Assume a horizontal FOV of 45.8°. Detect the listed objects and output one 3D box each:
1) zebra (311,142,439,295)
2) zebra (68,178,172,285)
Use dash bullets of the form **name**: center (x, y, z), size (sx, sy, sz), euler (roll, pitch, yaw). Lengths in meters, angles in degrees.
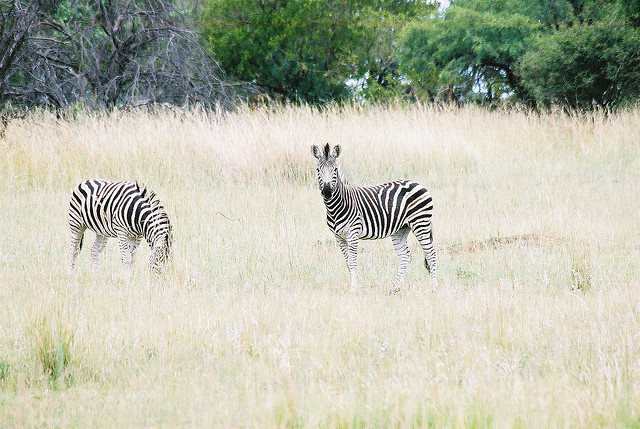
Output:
- **zebra**: center (1.015, 0.162, 15.148), size (2.952, 2.887, 0.937), euler (2, 0, -28)
- **zebra**: center (-4.077, 0.392, 15.414), size (2.945, 2.333, 0.878), euler (10, 9, 36)
